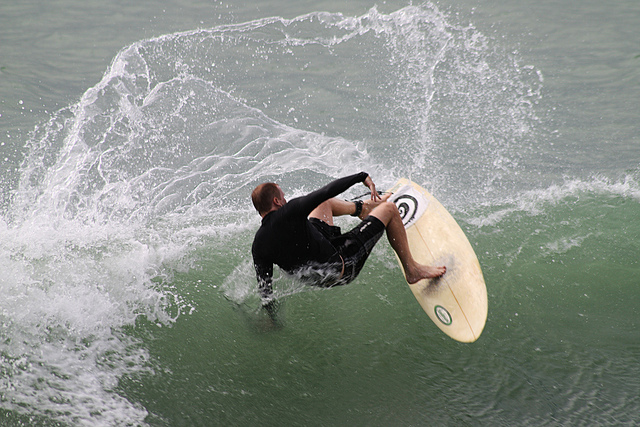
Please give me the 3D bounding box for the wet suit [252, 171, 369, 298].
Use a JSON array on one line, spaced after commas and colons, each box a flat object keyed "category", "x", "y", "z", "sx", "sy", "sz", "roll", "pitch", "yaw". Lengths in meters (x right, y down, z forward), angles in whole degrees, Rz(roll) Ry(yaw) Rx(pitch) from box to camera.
[{"category": "wet suit", "x": -0.131, "y": 0.400, "z": 11.715, "sx": 1.708, "sy": 0.953, "sz": 0.977, "roll": -39, "pitch": 89, "yaw": 16}]
